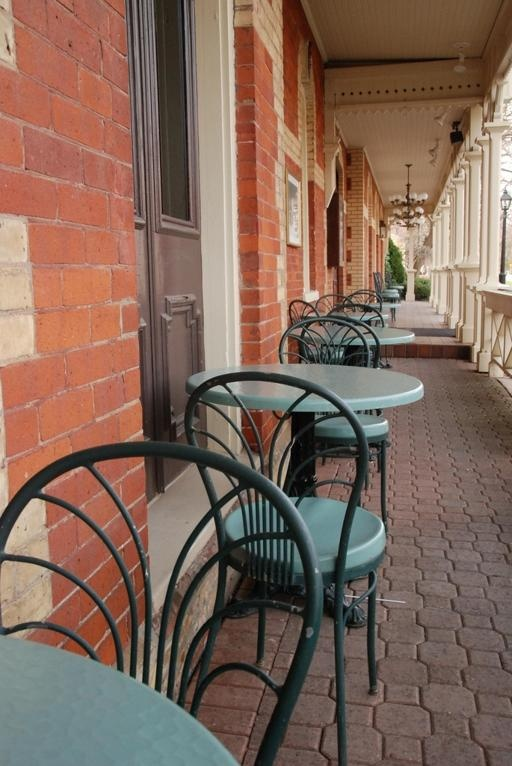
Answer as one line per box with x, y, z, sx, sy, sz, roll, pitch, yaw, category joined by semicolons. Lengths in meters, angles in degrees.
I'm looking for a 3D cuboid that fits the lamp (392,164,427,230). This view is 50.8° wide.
4.506;-5.591;16.022;0.925;1.947;1.035;1;7;19;lamp
